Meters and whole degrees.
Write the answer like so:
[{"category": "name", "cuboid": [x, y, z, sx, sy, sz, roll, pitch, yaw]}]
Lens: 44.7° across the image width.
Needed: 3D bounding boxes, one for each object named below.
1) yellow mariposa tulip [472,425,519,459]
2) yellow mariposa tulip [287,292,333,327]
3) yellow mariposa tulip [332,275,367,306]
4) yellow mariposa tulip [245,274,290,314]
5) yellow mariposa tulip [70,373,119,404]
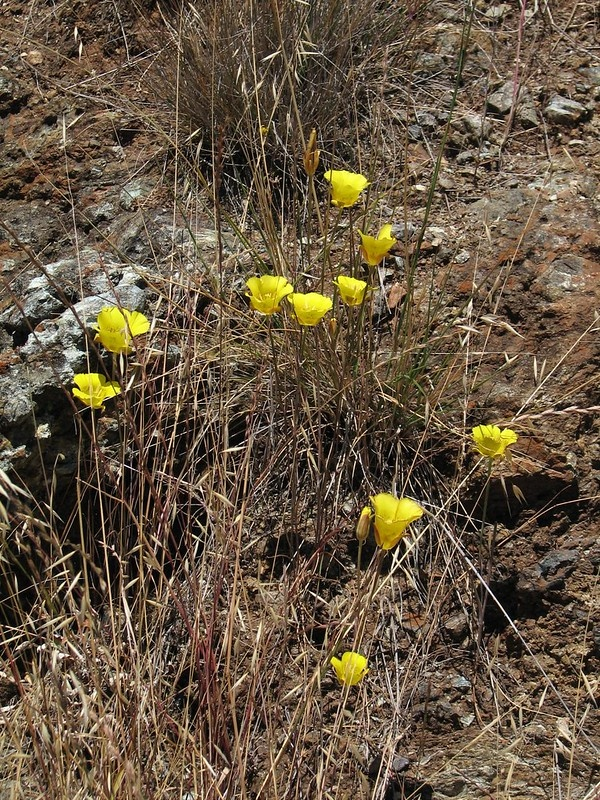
[{"category": "yellow mariposa tulip", "cuboid": [0.432, 0.098, 1.641, 0.091, 0.049, 0.097, 12, 32, 27]}, {"category": "yellow mariposa tulip", "cuboid": [0.027, -0.182, 1.483, 0.075, 0.054, 0.079, -7, 26, -12]}, {"category": "yellow mariposa tulip", "cuboid": [0.093, -0.232, 1.508, 0.069, 0.047, 0.067, 26, 38, 31]}, {"category": "yellow mariposa tulip", "cuboid": [-0.064, -0.210, 1.466, 0.080, 0.056, 0.088, 11, 33, 18]}, {"category": "yellow mariposa tulip", "cuboid": [-0.445, -0.015, 1.597, 0.096, 0.043, 0.090, 14, 49, -21]}]
